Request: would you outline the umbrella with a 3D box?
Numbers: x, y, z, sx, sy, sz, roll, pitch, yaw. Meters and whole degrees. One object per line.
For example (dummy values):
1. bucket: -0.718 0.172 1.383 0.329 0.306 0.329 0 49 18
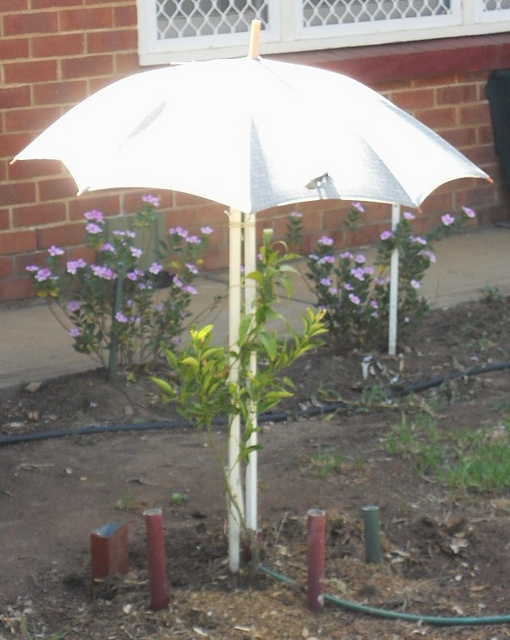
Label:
1. umbrella: -0.061 -0.349 5.261 1.762 1.650 1.813 9 12 37
